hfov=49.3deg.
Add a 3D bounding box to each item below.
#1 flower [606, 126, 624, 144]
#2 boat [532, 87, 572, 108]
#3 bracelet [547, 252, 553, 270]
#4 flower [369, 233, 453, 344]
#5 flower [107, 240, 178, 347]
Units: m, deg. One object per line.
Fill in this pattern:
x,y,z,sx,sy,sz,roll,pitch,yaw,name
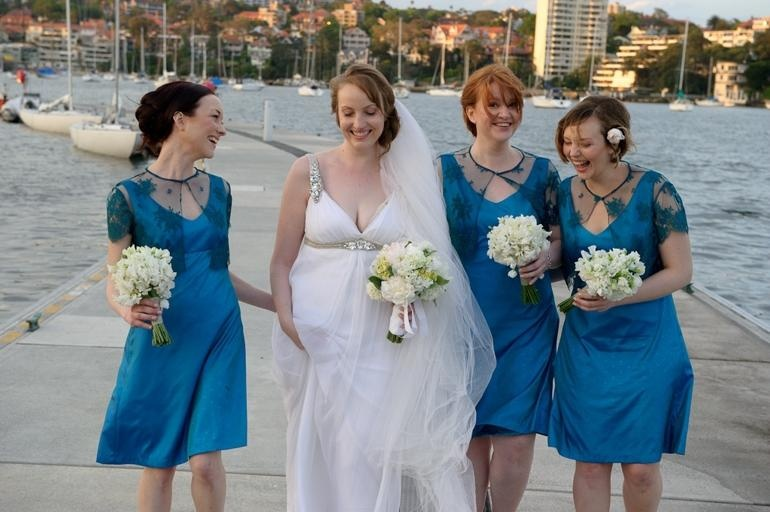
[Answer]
1.540,-0.797,5.562,0.120,0.115,0.057,-2,11,-25,flower
16.592,-15.846,84.060,2.038,1.619,4.418,0,11,-10,boat
1.163,0.044,5.888,0.034,0.092,0.067,2,22,-1,bracelet
0.168,0.233,5.742,0.633,0.642,0.561,-11,8,-16,flower
-1.517,0.261,5.326,0.480,0.554,0.394,-22,-4,44,flower
